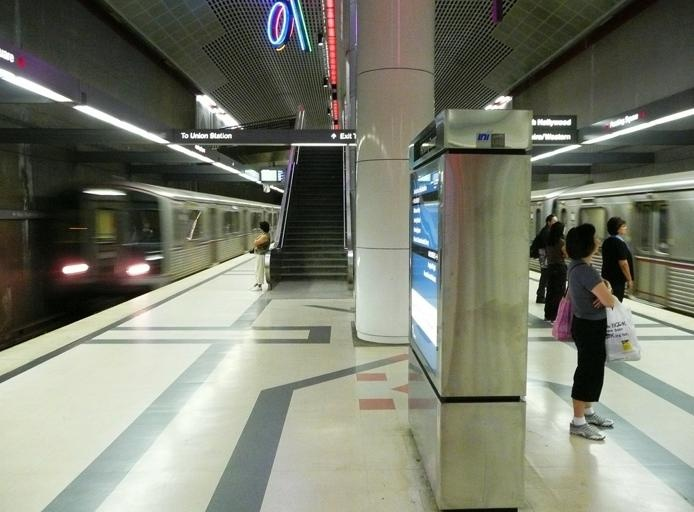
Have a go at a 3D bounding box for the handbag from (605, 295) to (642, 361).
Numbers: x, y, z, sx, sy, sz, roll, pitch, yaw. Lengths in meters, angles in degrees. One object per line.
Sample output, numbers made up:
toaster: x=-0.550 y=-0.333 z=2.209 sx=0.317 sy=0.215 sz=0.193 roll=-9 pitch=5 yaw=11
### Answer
handbag: x=2.492 y=0.664 z=4.453 sx=0.323 sy=0.654 sz=0.176 roll=-1 pitch=11 yaw=-3

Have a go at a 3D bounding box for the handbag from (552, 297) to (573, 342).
handbag: x=2.124 y=0.616 z=4.752 sx=0.155 sy=0.456 sz=0.329 roll=-3 pitch=-9 yaw=21

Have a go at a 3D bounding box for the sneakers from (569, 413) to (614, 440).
sneakers: x=2.290 y=1.615 z=4.619 sx=0.223 sy=0.103 sz=0.305 roll=-1 pitch=6 yaw=17

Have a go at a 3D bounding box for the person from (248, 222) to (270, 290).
person: x=-1.993 y=-0.035 z=11.320 sx=0.430 sy=1.528 sz=1.523 roll=-2 pitch=11 yaw=-9

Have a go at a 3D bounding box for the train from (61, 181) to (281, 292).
train: x=-5.428 y=-1.007 z=19.359 sx=2.341 sy=2.723 sz=16.458 roll=4 pitch=4 yaw=0

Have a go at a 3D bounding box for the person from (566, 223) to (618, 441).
person: x=2.264 y=0.685 z=4.551 sx=0.436 sy=1.953 sz=0.473 roll=-3 pitch=11 yaw=-16
